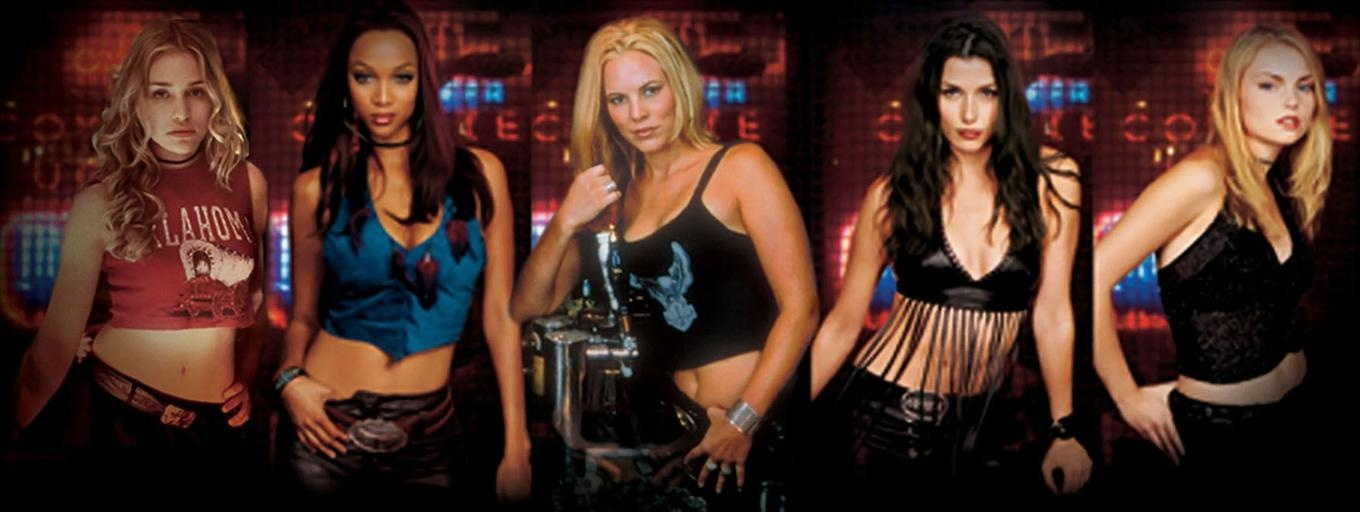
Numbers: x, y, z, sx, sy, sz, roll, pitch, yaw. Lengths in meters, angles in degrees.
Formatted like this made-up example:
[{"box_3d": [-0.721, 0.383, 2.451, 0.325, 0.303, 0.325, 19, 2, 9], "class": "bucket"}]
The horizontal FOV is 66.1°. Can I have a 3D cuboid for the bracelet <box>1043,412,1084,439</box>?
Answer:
[{"box_3d": [3.600, 1.613, 9.697, 0.364, 0.176, 0.070, -9, 4, -5], "class": "bracelet"}]

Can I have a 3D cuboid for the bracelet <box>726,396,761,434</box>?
[{"box_3d": [0.568, 1.437, 9.486, 0.311, 0.185, 0.300, 33, -4, 3], "class": "bracelet"}]

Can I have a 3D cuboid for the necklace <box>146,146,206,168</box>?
[{"box_3d": [-4.666, -0.912, 9.685, 0.489, 0.183, 0.095, 2, 9, 7], "class": "necklace"}]

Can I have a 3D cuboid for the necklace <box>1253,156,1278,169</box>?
[{"box_3d": [5.453, -0.872, 9.738, 0.150, 0.080, 0.149, 3, 0, 40], "class": "necklace"}]
